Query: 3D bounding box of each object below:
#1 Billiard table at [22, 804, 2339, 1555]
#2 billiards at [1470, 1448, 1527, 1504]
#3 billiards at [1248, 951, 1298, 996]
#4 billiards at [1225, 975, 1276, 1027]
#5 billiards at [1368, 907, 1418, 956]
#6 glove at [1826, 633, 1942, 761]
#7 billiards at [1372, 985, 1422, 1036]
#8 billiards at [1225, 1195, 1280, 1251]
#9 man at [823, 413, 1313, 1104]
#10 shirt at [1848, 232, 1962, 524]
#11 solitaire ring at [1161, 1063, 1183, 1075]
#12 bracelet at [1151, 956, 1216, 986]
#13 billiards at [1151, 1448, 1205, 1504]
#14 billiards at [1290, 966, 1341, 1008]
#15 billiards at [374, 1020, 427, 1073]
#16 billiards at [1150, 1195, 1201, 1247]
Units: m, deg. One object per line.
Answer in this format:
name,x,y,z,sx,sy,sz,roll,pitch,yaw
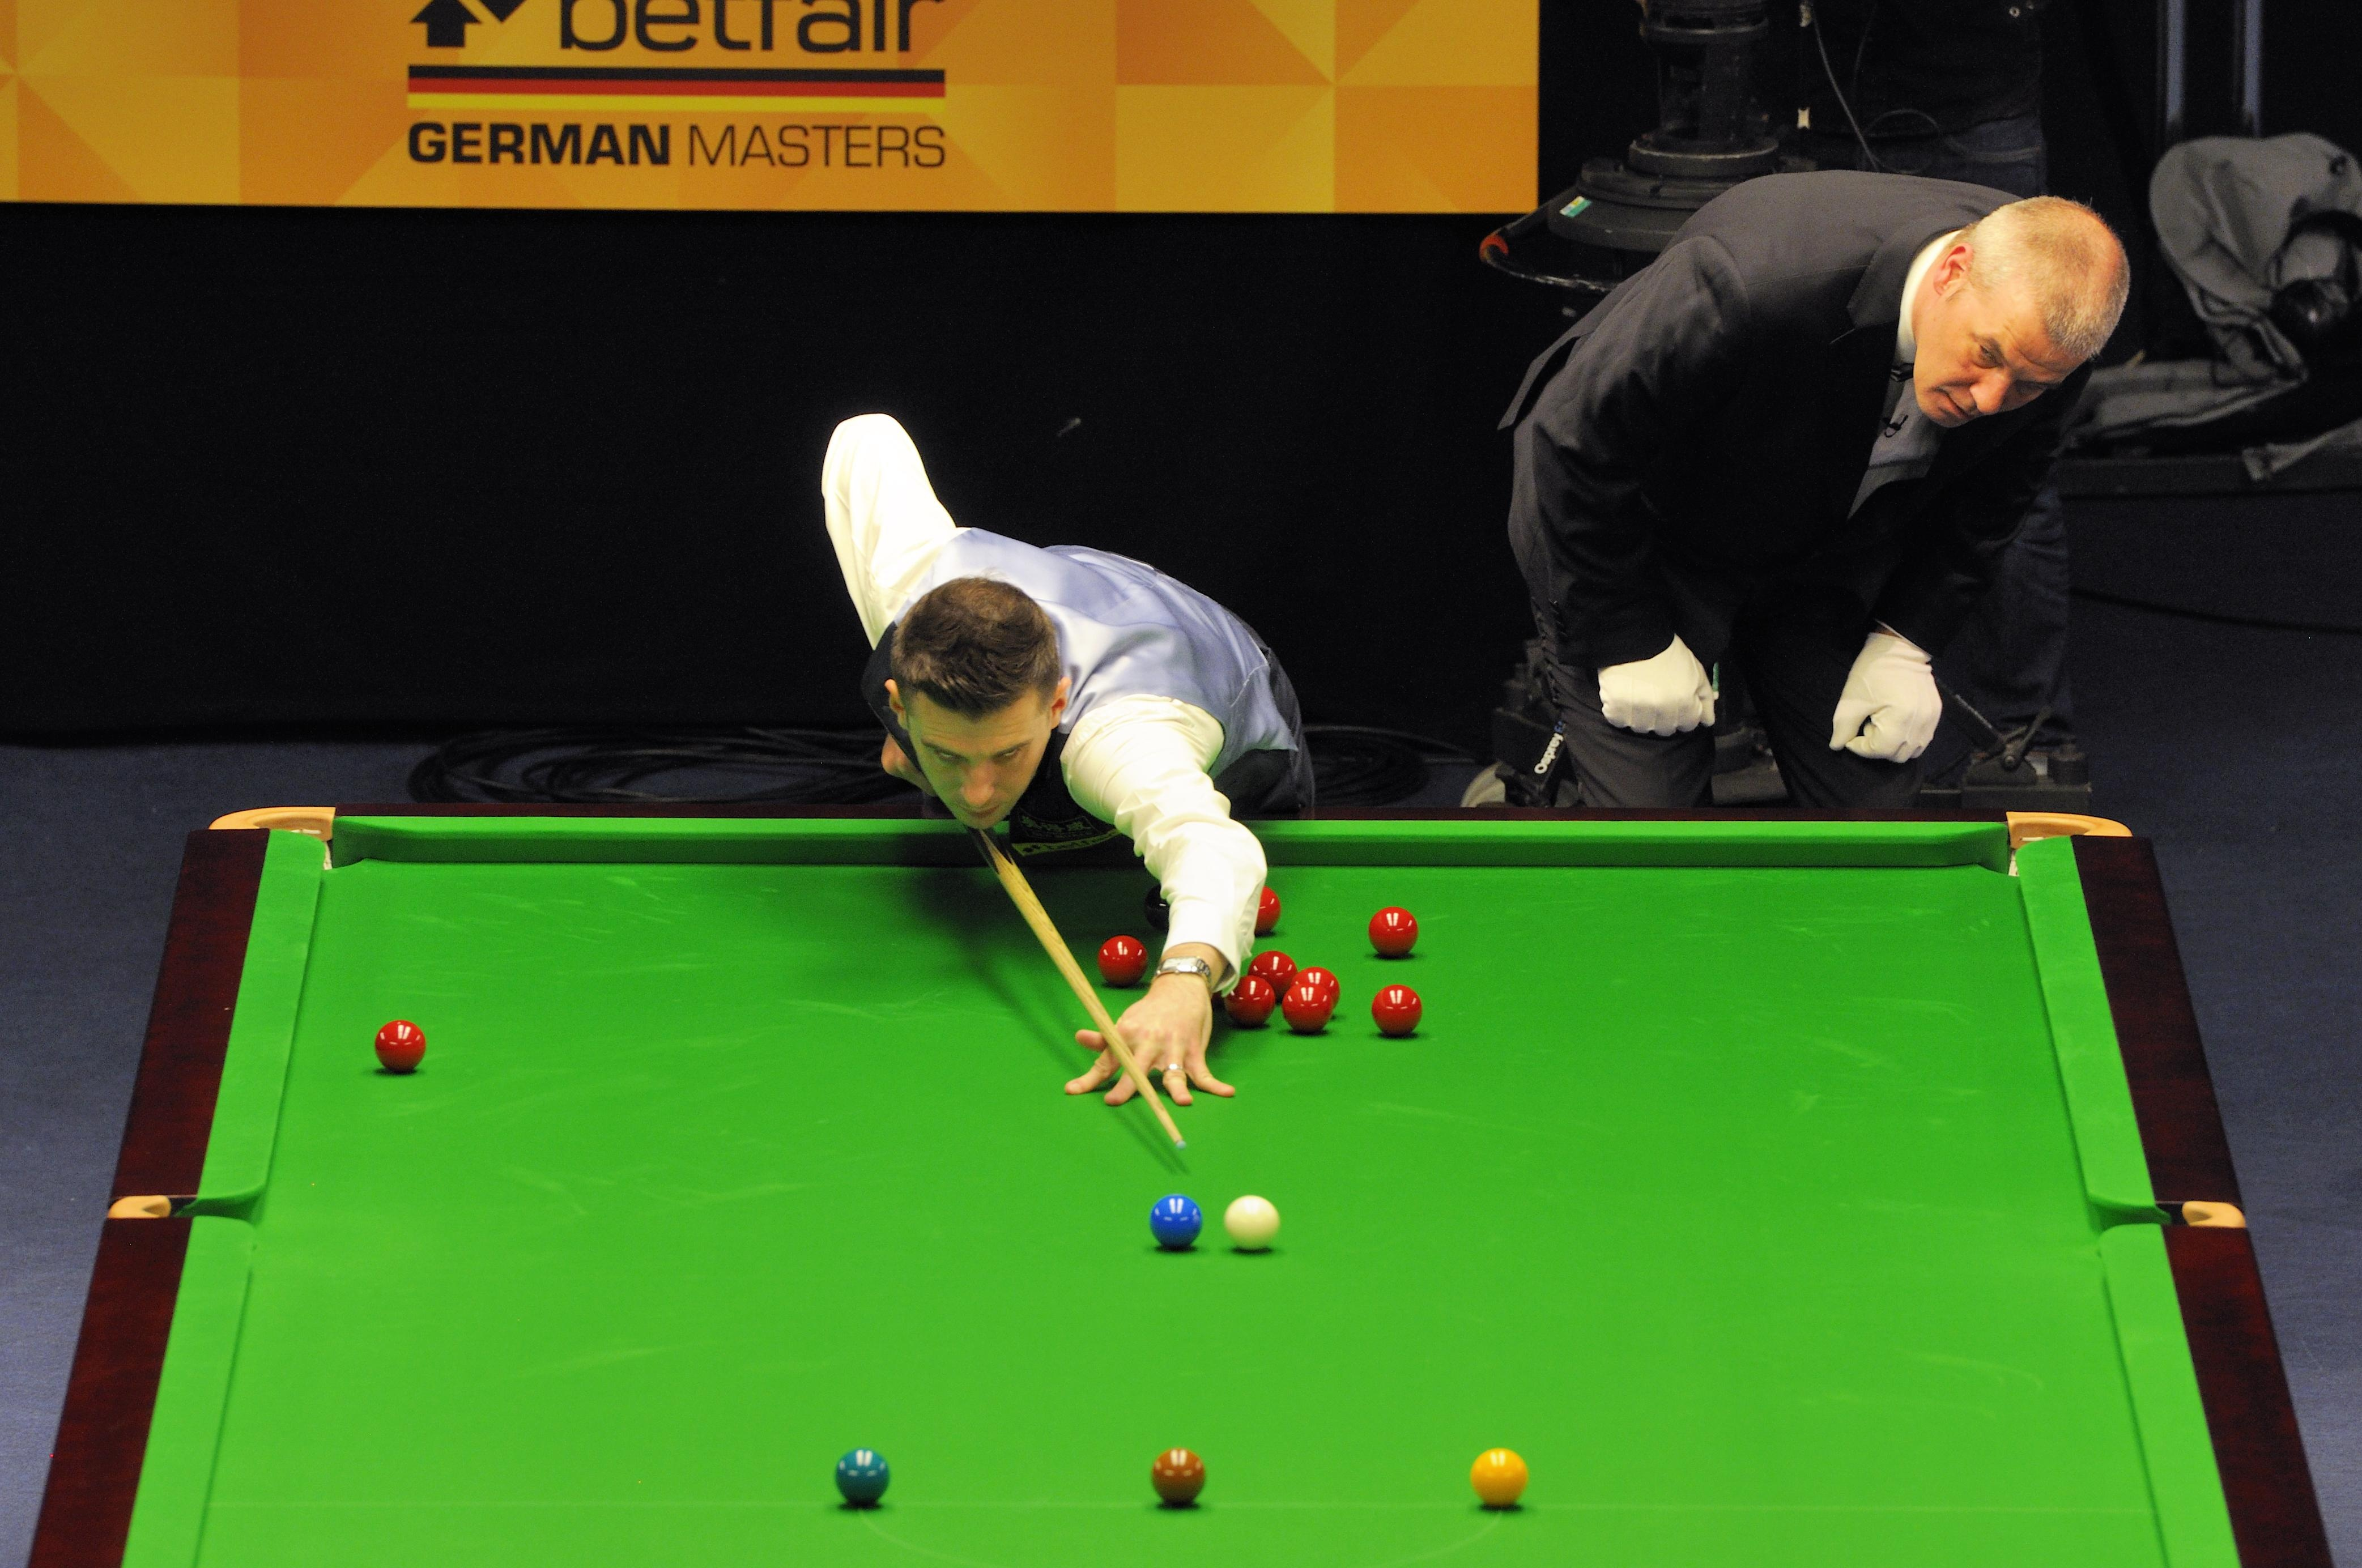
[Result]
Billiard table,-0.007,0.463,3.518,2.860,0.442,1.352,-4,34,1
billiards,0.374,0.818,3.062,0.061,0.063,0.058,-9,15,-38
billiards,0.140,0.273,3.845,0.059,0.074,0.061,20,27,15
billiards,0.104,0.318,3.766,0.066,0.073,0.067,-19,-7,2
billiards,0.315,0.224,3.866,0.063,0.070,0.068,12,8,-4
glove,1.325,-0.164,4.929,0.157,0.126,0.209,-10,65,-4
billiards,0.309,0.326,3.753,0.064,0.067,0.069,-12,45,19
billiards,0.092,0.568,3.364,0.068,0.057,0.039,-3,33,2
man,-0.139,-0.118,3.930,0.491,1.178,1.106,1,59,10
shirt,1.266,-0.703,4.600,0.222,0.320,0.072,13,1,-41
solitaire ring,-0.009,0.397,3.615,0.021,0.022,0.015,-12,70,3
bracelet,0.006,0.265,3.686,0.065,0.069,0.042,-4,72,22
billiards,0.000,0.815,3.055,0.057,0.063,0.062,5,65,10
billiards,0.196,0.282,3.758,0.055,0.058,0.055,5,28,-8
billiards,-1.069,0.366,3.594,0.063,0.079,0.068,-7,47,-4
billiards,-0.004,0.565,3.347,0.059,0.068,0.065,6,2,16
